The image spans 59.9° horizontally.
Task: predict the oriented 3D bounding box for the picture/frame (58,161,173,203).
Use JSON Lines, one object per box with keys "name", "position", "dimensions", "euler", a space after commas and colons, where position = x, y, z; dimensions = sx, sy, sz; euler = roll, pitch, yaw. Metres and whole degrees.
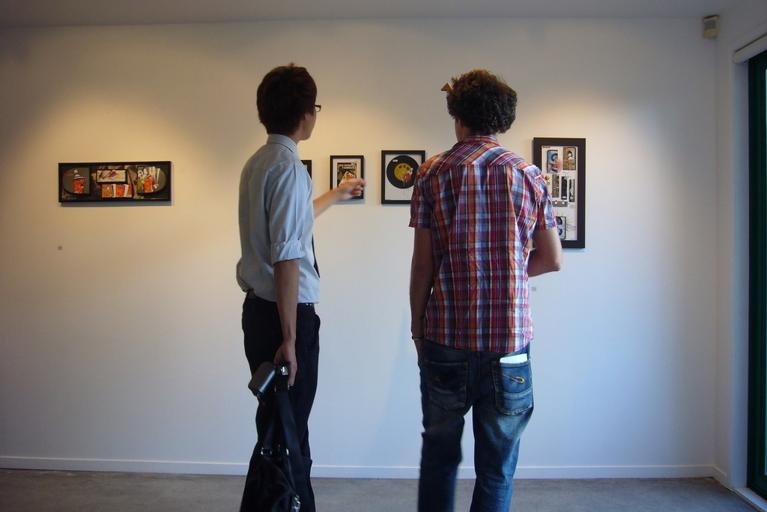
{"name": "picture/frame", "position": [-2.247, -0.584, 5.540], "dimensions": [0.800, 0.321, 0.093], "euler": [-3, -6, -14]}
